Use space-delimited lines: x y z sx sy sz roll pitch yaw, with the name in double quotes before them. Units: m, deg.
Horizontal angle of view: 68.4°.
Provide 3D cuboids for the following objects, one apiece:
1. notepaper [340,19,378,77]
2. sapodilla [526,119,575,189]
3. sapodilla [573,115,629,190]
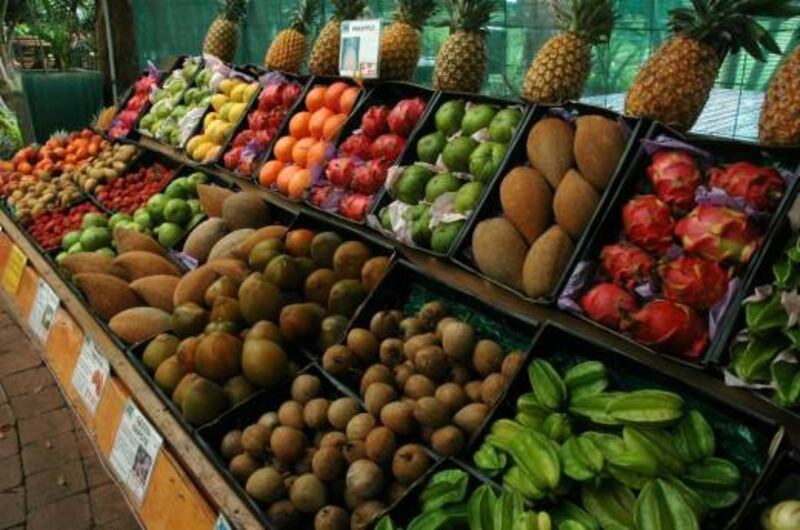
"notepaper" -0.268 -1.444 3.910 0.344 0.343 0.352 -1 39 -7
"sapodilla" 0.768 -0.598 3.087 0.191 0.402 0.192 -2 -6 -15
"sapodilla" 0.982 -0.573 2.905 0.221 0.258 0.375 21 50 -17
